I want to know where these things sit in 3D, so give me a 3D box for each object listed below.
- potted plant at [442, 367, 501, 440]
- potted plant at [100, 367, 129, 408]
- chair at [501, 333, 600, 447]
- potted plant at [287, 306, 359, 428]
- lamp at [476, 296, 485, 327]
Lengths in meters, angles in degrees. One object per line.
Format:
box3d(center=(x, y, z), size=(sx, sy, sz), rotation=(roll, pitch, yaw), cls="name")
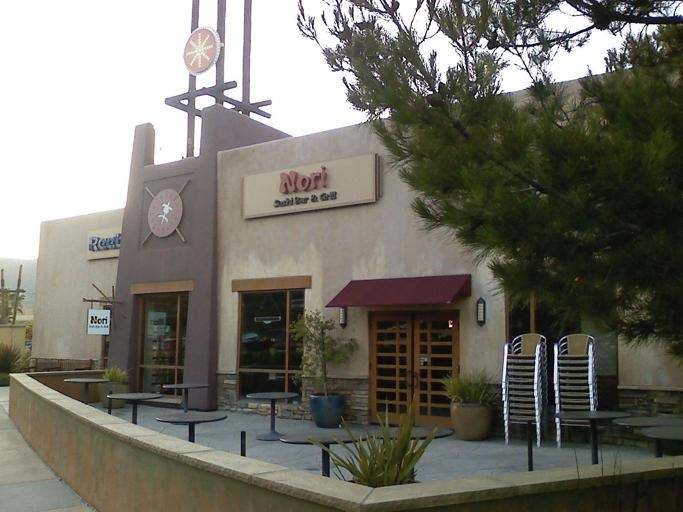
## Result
box3d(center=(2.870, 3.269, 13.090), size=(1.015, 1.419, 0.909), rotation=(-4, -8, 26), cls="potted plant")
box3d(center=(-6.994, 4.032, 18.338), size=(0.742, 1.059, 0.784), rotation=(10, -20, -34), cls="potted plant")
box3d(center=(4.276, 2.696, 12.293), size=(1.855, 2.288, 1.459), rotation=(-6, -12, 24), cls="chair")
box3d(center=(-0.282, 2.796, 14.840), size=(1.472, 2.749, 1.106), rotation=(8, 12, 28), cls="potted plant")
box3d(center=(3.161, 1.272, 13.524), size=(0.244, 0.641, 0.149), rotation=(-5, -11, 22), cls="lamp")
